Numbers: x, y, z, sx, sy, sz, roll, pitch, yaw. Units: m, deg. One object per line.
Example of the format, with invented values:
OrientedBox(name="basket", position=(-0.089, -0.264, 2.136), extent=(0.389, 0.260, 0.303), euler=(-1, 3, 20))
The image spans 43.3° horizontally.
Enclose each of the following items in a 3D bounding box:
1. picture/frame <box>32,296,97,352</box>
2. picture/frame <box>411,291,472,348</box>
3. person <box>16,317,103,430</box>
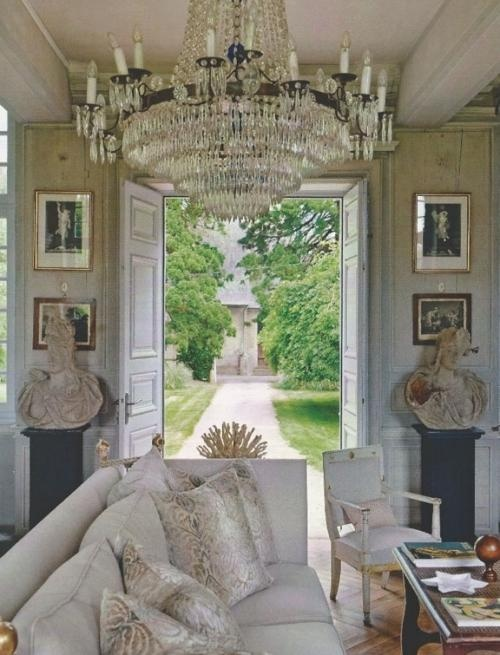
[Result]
OrientedBox(name="picture/frame", position=(-1.221, -0.034, 4.135), extent=(0.412, 0.332, 0.018), euler=(1, -3, 5))
OrientedBox(name="picture/frame", position=(1.235, -0.046, 4.119), extent=(0.421, 0.341, 0.027), euler=(-1, -2, 2))
OrientedBox(name="person", position=(-1.183, 0.270, 3.917), extent=(0.497, 0.686, 0.249), euler=(0, 1, -13))
